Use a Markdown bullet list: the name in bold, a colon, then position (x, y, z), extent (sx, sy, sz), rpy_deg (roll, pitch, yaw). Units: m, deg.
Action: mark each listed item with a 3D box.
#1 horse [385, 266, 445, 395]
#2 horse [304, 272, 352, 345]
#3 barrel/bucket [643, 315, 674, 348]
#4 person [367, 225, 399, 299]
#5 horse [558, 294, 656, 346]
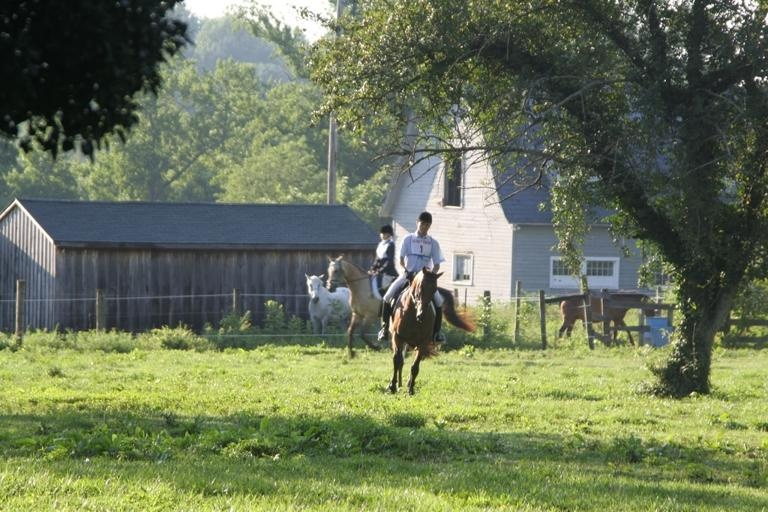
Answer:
- **horse**: position (0.917, 2.295, 57.782), extent (1.739, 4.188, 2.411), rpy_deg (-1, 10, 0)
- **horse**: position (-1.938, 2.031, 69.281), extent (0.935, 2.463, 3.615), rpy_deg (-2, -3, 15)
- **barrel/bucket**: position (10.473, 2.977, 67.622), extent (1.087, 1.610, 1.236), rpy_deg (-1, 2, 5)
- **person**: position (-0.118, 0.242, 63.415), extent (0.976, 2.695, 1.012), rpy_deg (1, -1, 19)
- **horse**: position (8.359, 2.338, 69.885), extent (5.830, 2.478, 2.669), rpy_deg (1, -2, 6)
